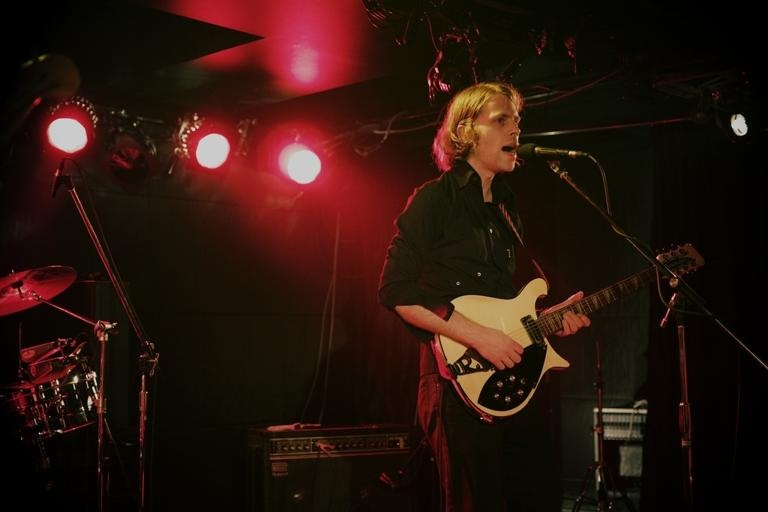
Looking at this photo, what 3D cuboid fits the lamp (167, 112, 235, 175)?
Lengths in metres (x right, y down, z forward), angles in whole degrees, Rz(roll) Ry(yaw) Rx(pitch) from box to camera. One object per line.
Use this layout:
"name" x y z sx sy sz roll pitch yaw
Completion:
"lamp" -1.948 -1.125 6.974 0.663 0.421 0.593 -11 -20 29

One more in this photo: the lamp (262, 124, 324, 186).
"lamp" -0.948 -1.068 7.205 0.610 0.550 0.270 2 -16 -9
